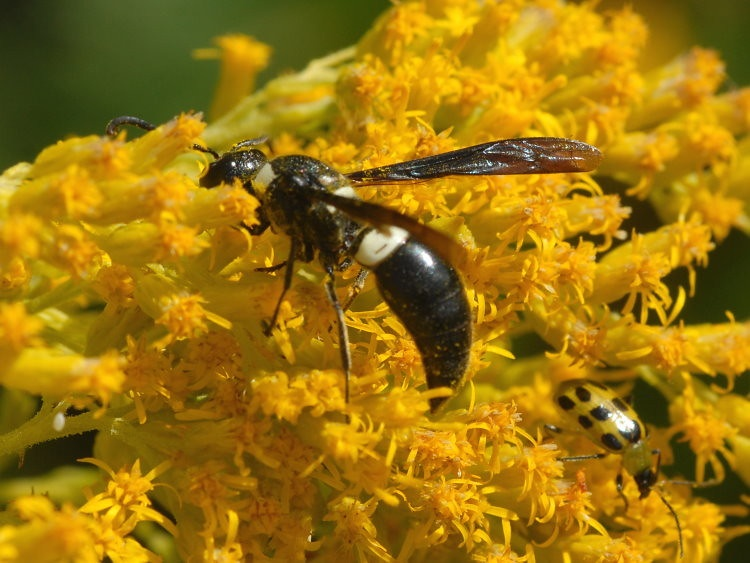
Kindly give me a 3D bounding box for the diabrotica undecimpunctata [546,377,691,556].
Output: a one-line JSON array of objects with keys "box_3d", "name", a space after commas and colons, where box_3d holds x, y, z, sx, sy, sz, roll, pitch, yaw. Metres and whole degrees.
[{"box_3d": [0.637, 0.509, 2.745, 0.383, 0.491, 0.485, 0, 96, -1], "name": "diabrotica undecimpunctata"}]
